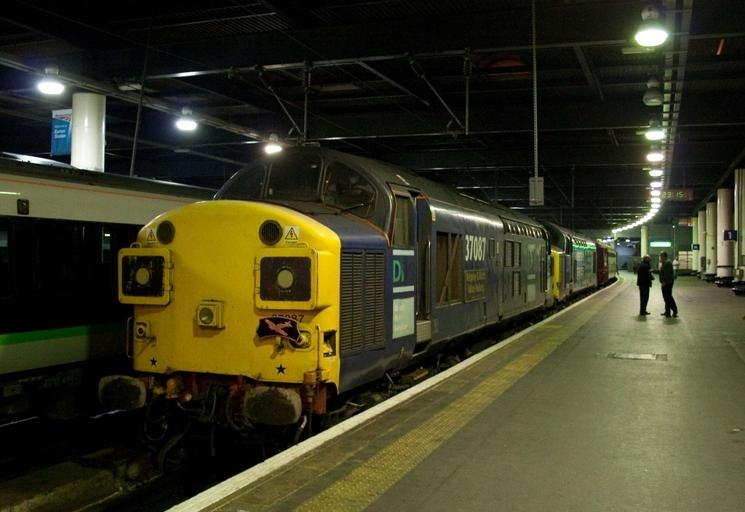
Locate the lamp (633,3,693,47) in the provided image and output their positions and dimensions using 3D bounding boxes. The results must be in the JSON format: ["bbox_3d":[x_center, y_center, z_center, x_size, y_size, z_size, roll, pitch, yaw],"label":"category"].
[{"bbox_3d":[5.373,-4.174,11.493,0.611,0.708,1.755,-2,2,44],"label":"lamp"}]
